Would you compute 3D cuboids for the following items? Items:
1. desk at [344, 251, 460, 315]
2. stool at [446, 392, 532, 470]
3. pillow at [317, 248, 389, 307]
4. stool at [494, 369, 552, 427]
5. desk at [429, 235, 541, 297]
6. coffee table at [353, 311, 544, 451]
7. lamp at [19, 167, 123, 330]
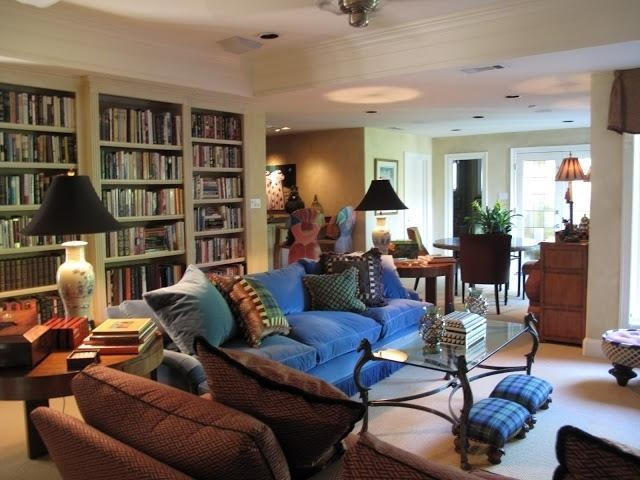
[{"bbox_3d":[1.027,0.376,5.095,0.946,0.523,0.904,-1,0,-33],"label":"desk"},{"bbox_3d":[1.011,1.122,2.903,0.424,0.193,0.473,3,9,34],"label":"stool"},{"bbox_3d":[0.321,0.352,4.216,0.620,0.443,0.156,3,-28,-20],"label":"pillow"},{"bbox_3d":[1.392,1.058,3.265,0.380,0.121,0.367,6,12,38],"label":"stool"},{"bbox_3d":[2.421,0.231,6.807,1.420,0.656,1.362,3,8,38],"label":"desk"},{"bbox_3d":[0.916,0.803,3.221,0.965,0.658,1.388,4,6,39],"label":"coffee table"},{"bbox_3d":[-1.410,0.040,2.773,0.377,0.831,0.370,5,11,31],"label":"lamp"}]
